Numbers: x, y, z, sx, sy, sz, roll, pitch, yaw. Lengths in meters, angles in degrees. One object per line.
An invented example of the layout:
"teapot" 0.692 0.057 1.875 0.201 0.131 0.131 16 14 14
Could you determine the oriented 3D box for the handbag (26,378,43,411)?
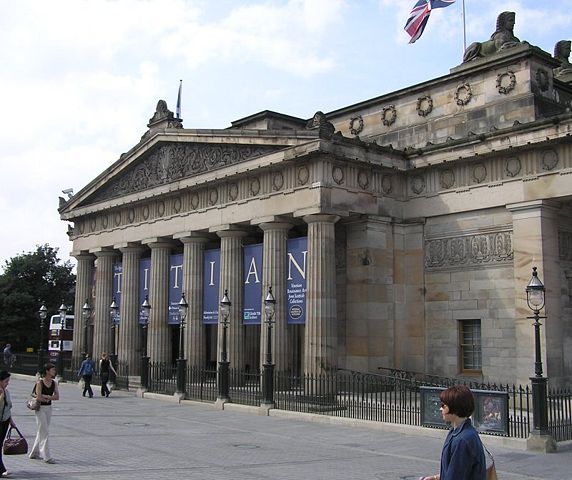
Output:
"handbag" -6.638 4.064 23.489 0.338 0.868 0.652 2 -11 -17
